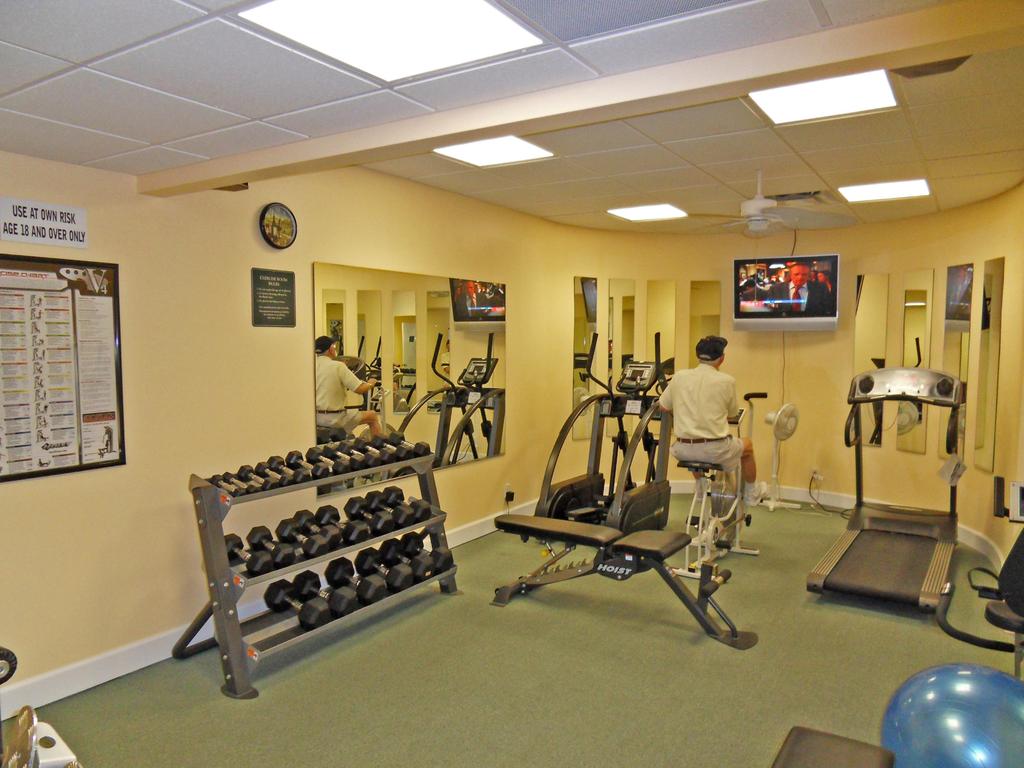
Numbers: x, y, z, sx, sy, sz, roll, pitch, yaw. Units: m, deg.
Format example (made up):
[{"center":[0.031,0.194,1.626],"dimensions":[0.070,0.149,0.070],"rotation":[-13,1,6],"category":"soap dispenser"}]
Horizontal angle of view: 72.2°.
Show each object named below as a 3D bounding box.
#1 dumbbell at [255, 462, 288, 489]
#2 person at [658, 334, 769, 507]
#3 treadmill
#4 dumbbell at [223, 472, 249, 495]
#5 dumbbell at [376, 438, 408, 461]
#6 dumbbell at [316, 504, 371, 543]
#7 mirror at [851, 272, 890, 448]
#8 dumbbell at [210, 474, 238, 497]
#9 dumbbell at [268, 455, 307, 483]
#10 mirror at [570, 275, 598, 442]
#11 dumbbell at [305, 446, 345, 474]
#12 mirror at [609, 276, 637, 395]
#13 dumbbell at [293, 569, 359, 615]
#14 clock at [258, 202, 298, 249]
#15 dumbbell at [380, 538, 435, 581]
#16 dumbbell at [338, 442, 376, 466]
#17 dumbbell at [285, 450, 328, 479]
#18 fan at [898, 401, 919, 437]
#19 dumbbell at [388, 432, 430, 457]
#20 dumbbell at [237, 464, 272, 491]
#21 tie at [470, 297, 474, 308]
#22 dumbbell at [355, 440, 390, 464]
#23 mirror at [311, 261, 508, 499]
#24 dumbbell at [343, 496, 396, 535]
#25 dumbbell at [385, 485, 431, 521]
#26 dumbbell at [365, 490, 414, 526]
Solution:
[{"center":[-1.562,0.597,4.581],"dimensions":[0.155,0.053,0.149],"rotation":[0,6,-34],"category":"dumbbell"},{"center":[1.793,0.254,6.297],"dimensions":[0.826,1.487,0.679],"rotation":[7,6,29],"category":"person"},{"center":[3.250,0.796,6.022],"dimensions":[0.990,1.563,1.930],"rotation":[2,10,35],"category":"treadmill"},{"center":[-1.721,0.619,4.381],"dimensions":[0.135,0.033,0.131],"rotation":[2,5,-23],"category":"dumbbell"},{"center":[-0.894,0.465,5.145],"dimensions":[0.171,0.084,0.206],"rotation":[8,7,23],"category":"dumbbell"},{"center":[-1.173,0.861,4.802],"dimensions":[0.237,0.191,0.429],"rotation":[-7,11,-40],"category":"dumbbell"},{"center":[3.946,-0.292,7.796],"dimensions":[0.391,1.827,0.128],"rotation":[5,6,22],"category":"mirror"},{"center":[-1.806,0.614,4.394],"dimensions":[0.094,0.050,0.348],"rotation":[-8,10,-29],"category":"dumbbell"},{"center":[-1.469,0.561,4.648],"dimensions":[0.194,0.073,0.204],"rotation":[13,15,37],"category":"dumbbell"},{"center":[0.855,-0.519,8.262],"dimensions":[0.134,1.486,0.521],"rotation":[5,11,34],"category":"mirror"},{"center":[-1.286,0.512,4.797],"dimensions":[0.198,0.071,0.191],"rotation":[1,1,2],"category":"dumbbell"},{"center":[1.346,-0.663,8.545],"dimensions":[0.408,1.216,0.113],"rotation":[-5,10,-27],"category":"mirror"},{"center":[-1.204,1.379,4.684],"dimensions":[0.479,0.207,0.260],"rotation":[-1,-4,40],"category":"dumbbell"},{"center":[-1.669,-1.129,5.049],"dimensions":[0.073,0.330,0.325],"rotation":[4,10,30],"category":"clock"},{"center":[-0.751,1.283,5.147],"dimensions":[0.329,0.132,0.315],"rotation":[8,10,-26],"category":"dumbbell"},{"center":[-1.091,0.492,5.013],"dimensions":[0.168,0.053,0.167],"rotation":[10,10,17],"category":"dumbbell"},{"center":[-1.382,0.535,4.748],"dimensions":[0.187,0.098,0.284],"rotation":[0,3,-8],"category":"dumbbell"},{"center":[4.135,0.364,7.333],"dimensions":[0.184,0.312,0.233],"rotation":[2,1,-36],"category":"fan"},{"center":[-0.790,0.463,5.268],"dimensions":[0.224,0.078,0.214],"rotation":[16,1,38],"category":"dumbbell"},{"center":[-1.654,0.593,4.511],"dimensions":[0.126,0.085,0.238],"rotation":[-2,6,-37],"category":"dumbbell"},{"center":[-0.373,-0.784,6.713],"dimensions":[0.020,0.074,0.080],"rotation":[3,0,28],"category":"tie"},{"center":[-1.000,0.486,5.057],"dimensions":[0.171,0.060,0.173],"rotation":[6,4,31],"category":"dumbbell"},{"center":[-0.860,-0.166,6.133],"dimensions":[0.170,1.467,2.367],"rotation":[6,4,24],"category":"mirror"},{"center":[-1.014,0.912,5.007],"dimensions":[0.248,0.161,0.433],"rotation":[-1,5,-41],"category":"dumbbell"},{"center":[-0.769,0.889,5.190],"dimensions":[0.290,0.095,0.279],"rotation":[1,4,-38],"category":"dumbbell"},{"center":[-0.878,0.904,5.105],"dimensions":[0.257,0.106,0.308],"rotation":[22,17,40],"category":"dumbbell"}]
